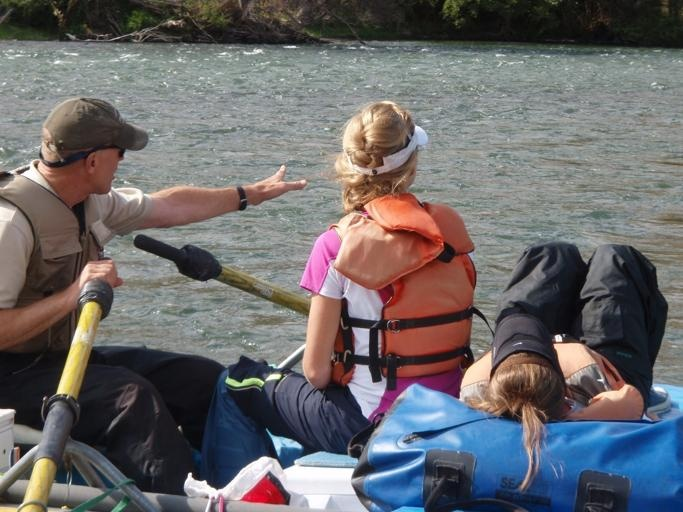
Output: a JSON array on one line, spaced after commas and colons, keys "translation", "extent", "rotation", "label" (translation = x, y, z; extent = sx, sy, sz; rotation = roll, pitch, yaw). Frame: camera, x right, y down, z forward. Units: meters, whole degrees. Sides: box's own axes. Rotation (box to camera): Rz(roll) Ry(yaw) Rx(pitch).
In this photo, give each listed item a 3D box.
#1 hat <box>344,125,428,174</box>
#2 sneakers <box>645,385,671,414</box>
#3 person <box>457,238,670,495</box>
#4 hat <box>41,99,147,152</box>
[{"translation": [0.317, -0.652, 7.678], "extent": [0.470, 0.106, 0.311], "rotation": [-26, 27, -10], "label": "hat"}, {"translation": [2.150, 0.989, 8.097], "extent": [0.117, 0.107, 0.301], "rotation": [0, 9, 30], "label": "sneakers"}, {"translation": [1.506, 0.605, 8.089], "extent": [1.530, 0.667, 2.091], "rotation": [8, 30, 18], "label": "person"}, {"translation": [-1.674, -0.851, 7.892], "extent": [0.614, 0.269, 0.351], "rotation": [5, 20, -28], "label": "hat"}]
